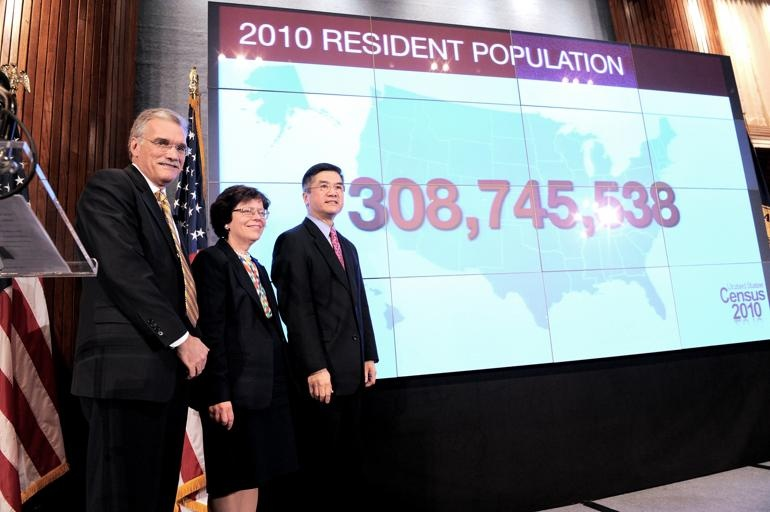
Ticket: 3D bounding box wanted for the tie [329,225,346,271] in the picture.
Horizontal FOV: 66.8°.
[{"bbox_3d":[-0.306,-0.058,3.701,0.061,0.327,0.048,-16,-32,2],"label":"tie"}]
